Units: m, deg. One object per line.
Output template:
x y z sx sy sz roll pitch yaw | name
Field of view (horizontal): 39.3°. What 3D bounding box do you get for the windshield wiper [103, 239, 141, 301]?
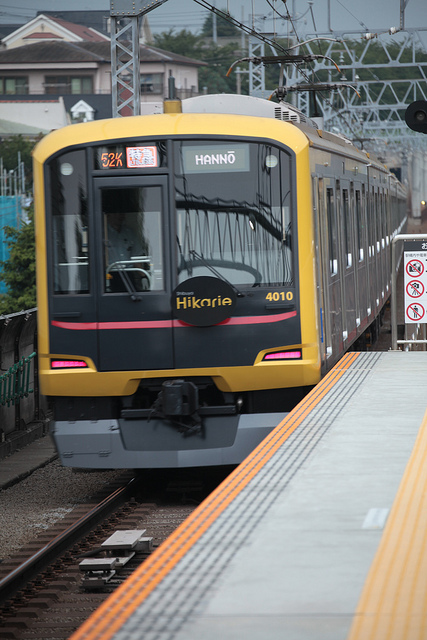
-0.965 -0.532 6.302 0.096 0.682 0.100 -26 5 25 | windshield wiper
